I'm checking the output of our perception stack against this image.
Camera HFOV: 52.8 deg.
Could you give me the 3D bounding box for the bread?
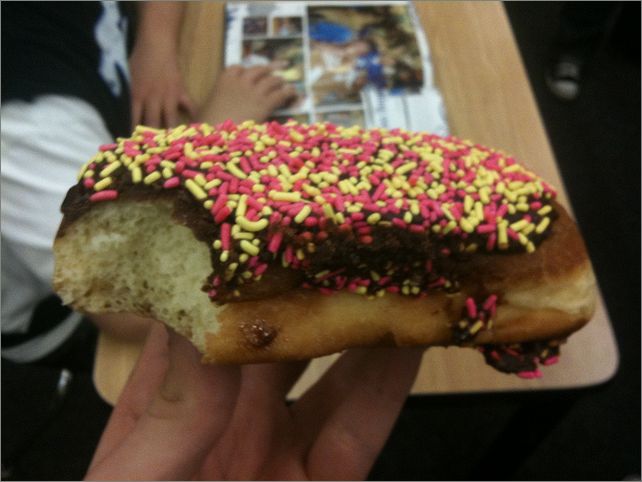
[{"bbox_3d":[0.005,0.001,1.314,0.892,0.303,0.551,-1,26,-8],"label":"bread"}]
